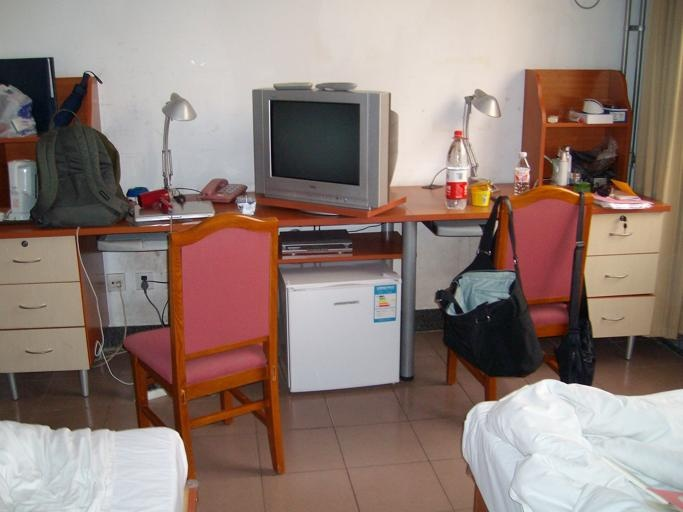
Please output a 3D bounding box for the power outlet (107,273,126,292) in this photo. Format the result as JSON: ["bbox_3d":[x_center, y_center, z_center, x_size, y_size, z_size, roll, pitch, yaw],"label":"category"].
[{"bbox_3d":[-1.429,0.159,3.567,0.100,0.098,0.053,-2,7,-15],"label":"power outlet"}]

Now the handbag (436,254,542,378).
[{"bbox_3d":[0.713,0.320,2.735,0.501,0.631,0.235,4,16,18],"label":"handbag"}]

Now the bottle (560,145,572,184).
[{"bbox_3d":[1.389,-0.560,3.497,0.063,0.231,0.159,6,17,25],"label":"bottle"}]

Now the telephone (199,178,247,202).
[{"bbox_3d":[-0.697,-0.379,3.297,0.175,0.071,0.193,3,37,12],"label":"telephone"}]

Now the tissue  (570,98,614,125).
[{"bbox_3d":[1.542,-0.879,3.473,0.186,0.122,0.188,1,22,9],"label":"tissue "}]

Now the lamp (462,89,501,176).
[{"bbox_3d":[0.853,-0.754,3.500,0.210,0.549,0.472,3,15,13],"label":"lamp"}]

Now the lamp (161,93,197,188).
[{"bbox_3d":[-0.930,-0.649,3.215,0.206,0.564,0.544,-5,16,-16],"label":"lamp"}]

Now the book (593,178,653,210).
[{"bbox_3d":[1.603,-0.343,3.227,0.263,0.066,0.271,-2,20,-9],"label":"book"}]

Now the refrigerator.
[{"bbox_3d":[-0.074,0.310,3.354,0.818,0.867,0.612,-3,13,-11],"label":"refrigerator"}]

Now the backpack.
[{"bbox_3d":[-1.354,-0.405,2.879,0.462,0.503,0.152,-1,15,0],"label":"backpack"}]

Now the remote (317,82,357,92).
[{"bbox_3d":[-0.042,-0.887,2.962,0.241,0.044,0.083,10,19,36],"label":"remote"}]

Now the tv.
[{"bbox_3d":[-0.079,-0.579,3.029,0.579,0.501,0.302,6,15,23],"label":"tv"}]

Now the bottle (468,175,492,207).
[{"bbox_3d":[0.802,-0.376,3.269,0.152,0.196,0.194,-1,5,-11],"label":"bottle"}]

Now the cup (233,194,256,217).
[{"bbox_3d":[-0.523,-0.294,3.031,0.141,0.083,0.246,-2,26,-9],"label":"cup"}]

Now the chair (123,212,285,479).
[{"bbox_3d":[-0.599,0.395,2.528,0.677,1.228,0.423,-5,16,-14],"label":"chair"}]
